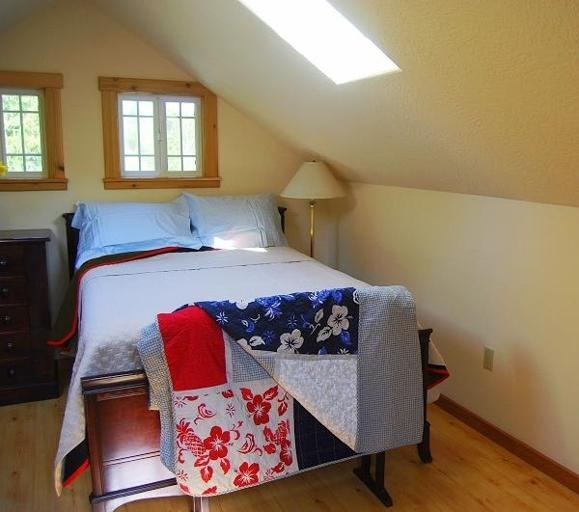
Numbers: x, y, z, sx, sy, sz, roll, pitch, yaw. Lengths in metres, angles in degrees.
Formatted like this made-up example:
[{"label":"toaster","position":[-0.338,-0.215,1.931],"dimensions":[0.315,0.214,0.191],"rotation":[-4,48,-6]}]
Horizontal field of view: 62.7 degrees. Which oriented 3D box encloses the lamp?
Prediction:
[{"label":"lamp","position":[0.178,-0.292,3.747],"dimensions":[0.533,0.845,0.558],"rotation":[6,15,23]}]
